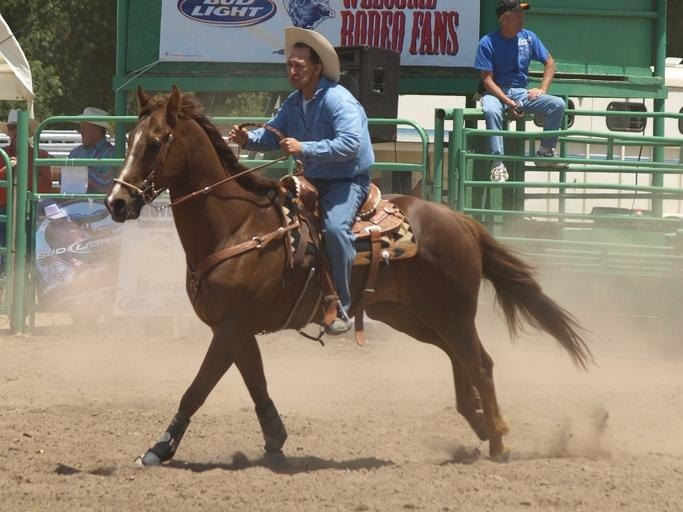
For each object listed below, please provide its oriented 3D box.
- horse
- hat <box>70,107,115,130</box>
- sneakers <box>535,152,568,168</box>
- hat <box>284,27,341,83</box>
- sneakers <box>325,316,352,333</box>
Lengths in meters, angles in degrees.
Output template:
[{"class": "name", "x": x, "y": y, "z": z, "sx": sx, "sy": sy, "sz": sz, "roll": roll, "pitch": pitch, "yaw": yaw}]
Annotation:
[{"class": "horse", "x": 0.137, "y": 0.302, "z": 7.941, "sx": 4.292, "sy": 3.025, "sz": 0.978, "roll": 2, "pitch": -1, "yaw": -20}, {"class": "hat", "x": -3.174, "y": -1.772, "z": 11.853, "sx": 0.486, "sy": 0.184, "sz": 0.435, "roll": 15, "pitch": -7, "yaw": 16}, {"class": "sneakers", "x": 2.436, "y": -1.134, "z": 10.706, "sx": 0.517, "sy": 0.244, "sz": 0.177, "roll": 1, "pitch": 6, "yaw": -12}, {"class": "hat", "x": -0.204, "y": -1.707, "z": 7.589, "sx": 0.123, "sy": 0.465, "sz": 0.452, "roll": -33, "pitch": 37, "yaw": -22}, {"class": "sneakers", "x": -0.023, "y": 0.560, "z": 7.517, "sx": 0.108, "sy": 0.075, "sz": 0.188, "roll": -3, "pitch": -6, "yaw": -39}]
